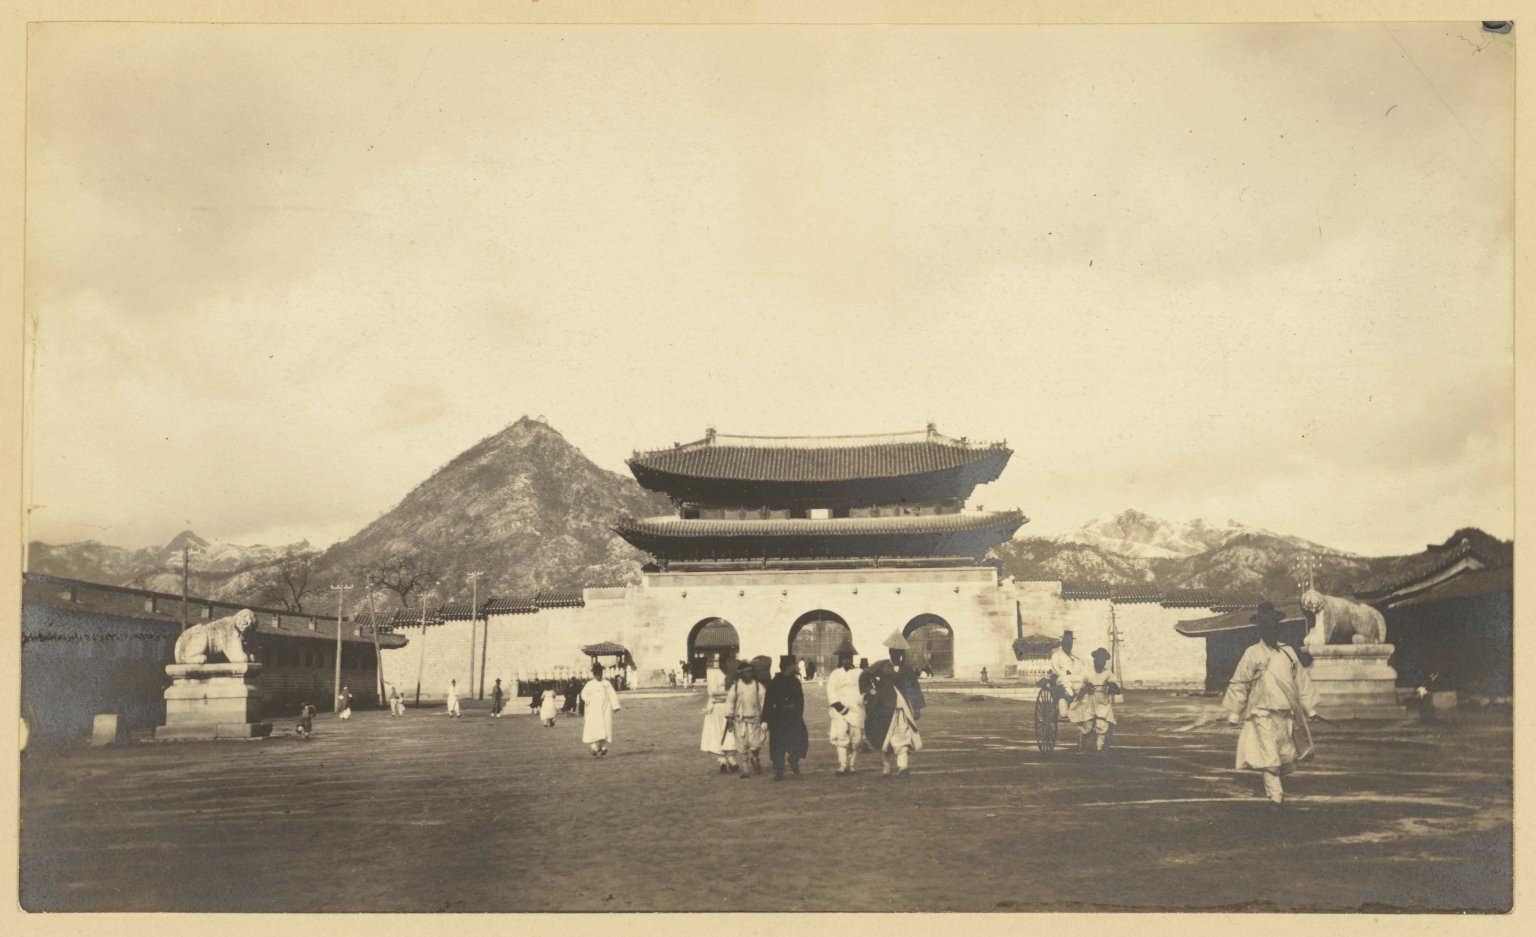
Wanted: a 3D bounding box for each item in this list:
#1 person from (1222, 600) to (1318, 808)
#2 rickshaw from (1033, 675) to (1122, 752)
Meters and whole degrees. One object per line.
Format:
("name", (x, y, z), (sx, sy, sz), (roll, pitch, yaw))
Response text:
("person", (6.505, 3.073, 23.258), (1.104, 2.573, 0.403), (-1, 3, 12))
("rickshaw", (4.740, 3.621, 26.640), (1.501, 1.402, 2.021), (1, -15, 7))
